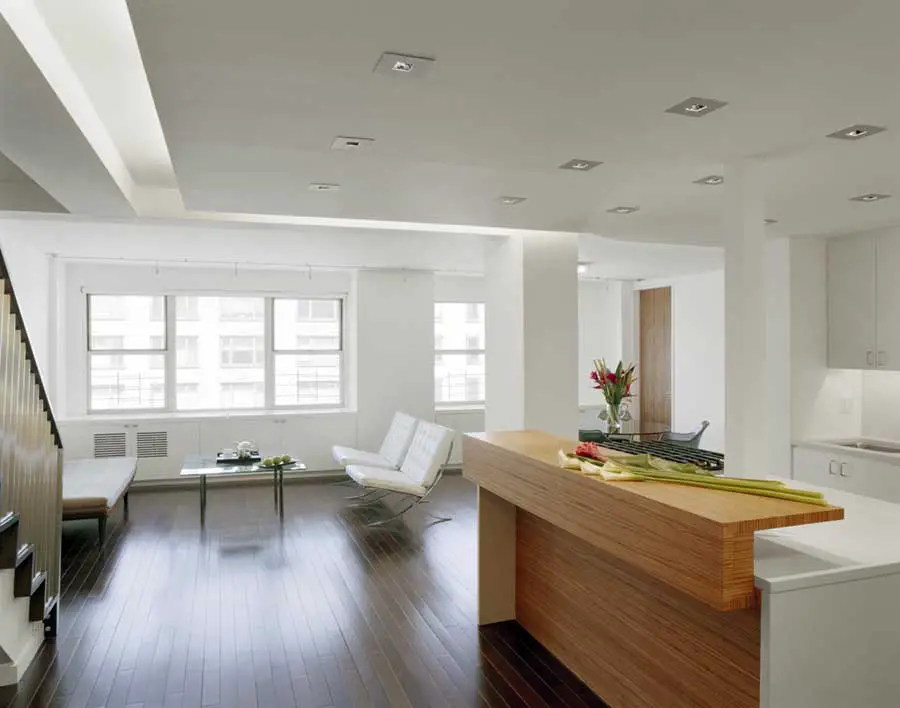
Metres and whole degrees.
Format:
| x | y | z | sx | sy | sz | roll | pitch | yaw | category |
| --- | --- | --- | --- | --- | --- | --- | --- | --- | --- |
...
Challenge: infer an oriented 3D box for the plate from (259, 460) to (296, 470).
| x | y | z | sx | sy | sz | roll | pitch | yaw | category |
| --- | --- | --- | --- | --- | --- | --- | --- | --- | --- |
| -1.882 | 1.195 | 6.786 | 0.403 | 0.088 | 0.320 | -1 | 2 | -17 | plate |

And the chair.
| x | y | z | sx | sy | sz | roll | pitch | yaw | category |
| --- | --- | --- | --- | --- | --- | --- | --- | --- | --- |
| -0.683 | 1.296 | 7.089 | 1.111 | 1.036 | 1.773 | -1 | 2 | -13 | chair |

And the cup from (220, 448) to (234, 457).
| x | y | z | sx | sy | sz | roll | pitch | yaw | category |
| --- | --- | --- | --- | --- | --- | --- | --- | --- | --- |
| -2.624 | 1.172 | 7.277 | 0.134 | 0.083 | 0.137 | 2 | 2 | 0 | cup |

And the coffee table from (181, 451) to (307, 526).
| x | y | z | sx | sy | sz | roll | pitch | yaw | category |
| --- | --- | --- | --- | --- | --- | --- | --- | --- | --- |
| -2.473 | 1.478 | 7.307 | 1.226 | 0.649 | 1.799 | -1 | 2 | -21 | coffee table |

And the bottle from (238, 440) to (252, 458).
| x | y | z | sx | sy | sz | roll | pitch | yaw | category |
| --- | --- | --- | --- | --- | --- | --- | --- | --- | --- |
| -2.466 | 1.137 | 7.370 | 0.171 | 0.210 | 0.168 | 0 | -3 | 0 | bottle |
